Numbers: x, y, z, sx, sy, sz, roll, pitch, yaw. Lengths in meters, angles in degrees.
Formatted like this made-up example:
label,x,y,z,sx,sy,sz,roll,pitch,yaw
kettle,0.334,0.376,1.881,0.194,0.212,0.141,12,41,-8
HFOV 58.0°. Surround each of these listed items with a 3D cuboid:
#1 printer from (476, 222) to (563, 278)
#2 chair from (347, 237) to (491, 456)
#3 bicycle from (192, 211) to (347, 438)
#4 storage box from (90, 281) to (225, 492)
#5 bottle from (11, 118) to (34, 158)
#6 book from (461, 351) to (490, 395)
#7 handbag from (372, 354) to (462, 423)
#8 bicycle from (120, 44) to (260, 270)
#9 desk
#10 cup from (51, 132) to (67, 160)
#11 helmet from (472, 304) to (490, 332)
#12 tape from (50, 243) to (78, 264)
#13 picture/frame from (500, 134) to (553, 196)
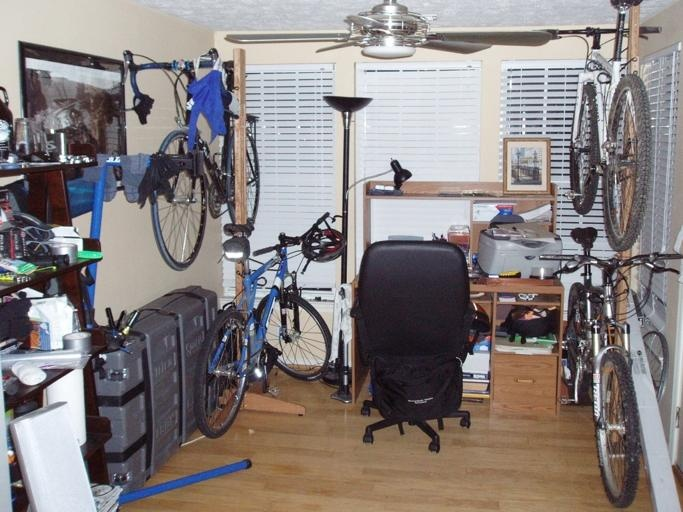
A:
label,x,y,z,sx,sy,sz,roll,pitch,yaw
printer,1.377,-0.060,4.848,0.574,0.381,0.576,0,17,-11
chair,0.489,0.521,4.241,0.912,1.423,0.835,0,13,3
bicycle,-0.574,0.452,4.802,0.985,1.433,2.158,-1,5,16
storage box,-1.182,0.864,3.894,0.492,1.462,1.245,2,0,19
bottle,-1.502,-0.560,2.890,0.089,0.171,0.296,-8,15,-26
book,1.049,0.904,4.940,0.267,0.385,0.383,2,8,14
handbag,0.531,0.828,4.376,0.747,0.364,0.939,-1,6,-5
bicycle,-1.347,-0.677,4.803,0.644,1.559,2.127,1,1,-16
desk,0.968,0.260,5.076,1.596,1.804,1.042,0,22,1
cup,-1.381,-0.541,3.020,0.062,0.134,0.252,-7,15,-23
helmet,1.062,0.471,4.671,0.180,0.248,0.091,10,52,20
tape,-1.307,-0.017,2.890,0.098,0.071,0.101,2,2,17
picture/frame,1.484,-0.719,4.922,0.503,0.618,0.042,0,2,-2
